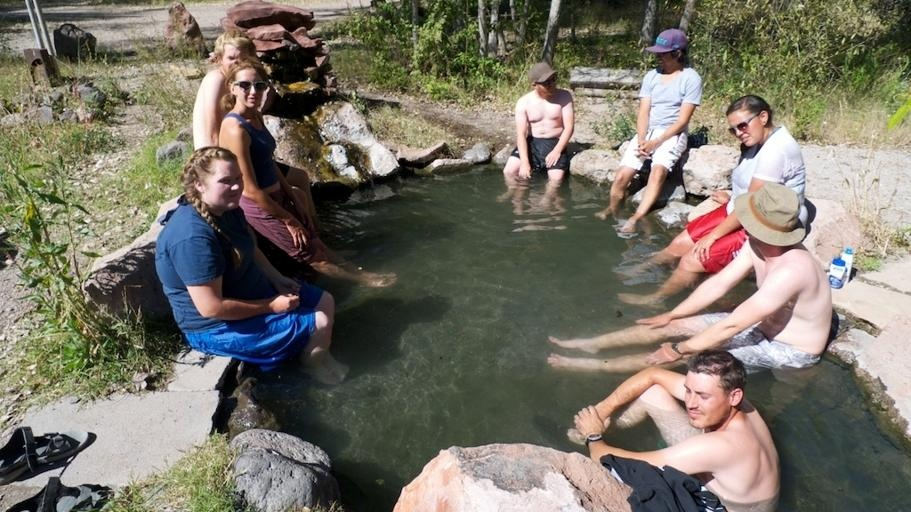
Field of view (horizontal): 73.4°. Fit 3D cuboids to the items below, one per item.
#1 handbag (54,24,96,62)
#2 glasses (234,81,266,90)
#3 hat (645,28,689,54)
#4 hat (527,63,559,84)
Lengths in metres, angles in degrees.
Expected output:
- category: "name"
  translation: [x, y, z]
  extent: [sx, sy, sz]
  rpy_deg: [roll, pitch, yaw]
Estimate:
- category: "handbag"
  translation: [-10.303, -5.824, 16.592]
  extent: [0.953, 0.808, 1.219]
  rpy_deg: [-16, 32, -28]
- category: "glasses"
  translation: [-2.772, -2.334, 8.351]
  extent: [0.379, 0.131, 0.070]
  rpy_deg: [-7, 29, -15]
- category: "hat"
  translation: [3.667, -3.691, 10.642]
  extent: [0.643, 0.271, 0.410]
  rpy_deg: [-3, 47, 7]
- category: "hat"
  translation: [1.614, -3.412, 11.609]
  extent: [0.505, 0.267, 0.381]
  rpy_deg: [5, 39, 46]
